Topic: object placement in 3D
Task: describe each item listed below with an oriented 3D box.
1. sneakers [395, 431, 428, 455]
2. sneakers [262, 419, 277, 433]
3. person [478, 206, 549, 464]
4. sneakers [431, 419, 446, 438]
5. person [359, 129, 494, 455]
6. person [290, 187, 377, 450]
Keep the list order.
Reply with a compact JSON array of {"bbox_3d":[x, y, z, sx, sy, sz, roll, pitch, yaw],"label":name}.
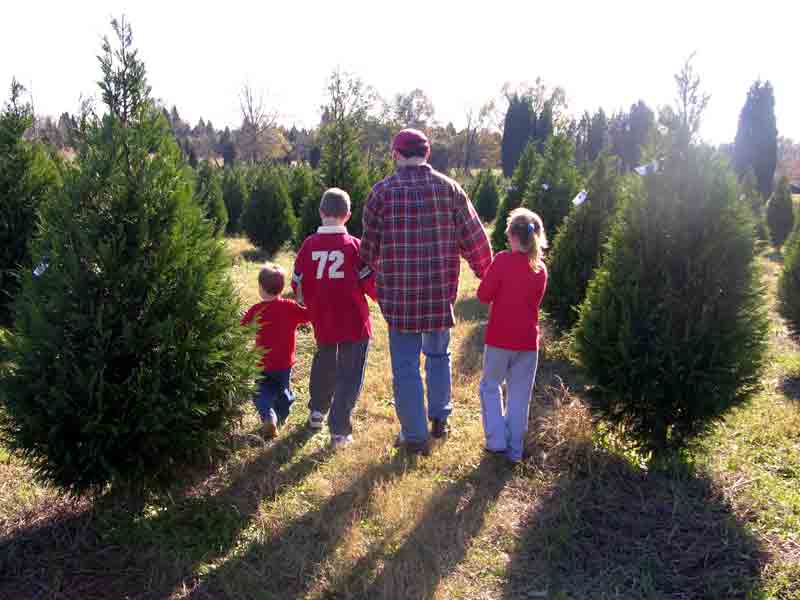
[{"bbox_3d":[0.108,1.237,6.410,0.311,0.189,0.133,11,8,21],"label":"sneakers"},{"bbox_3d":[-1.158,1.127,6.560,0.121,0.151,0.068,-4,10,-27],"label":"sneakers"},{"bbox_3d":[0.932,0.301,6.251,0.568,2.108,0.344,1,8,6],"label":"person"},{"bbox_3d":[0.351,1.148,6.624,0.116,0.187,0.131,4,-3,29],"label":"sneakers"},{"bbox_3d":[0.263,-0.178,6.587,0.930,3.041,0.847,-1,18,-3],"label":"person"},{"bbox_3d":[-0.569,0.049,6.624,0.633,2.235,0.686,10,24,17],"label":"person"}]
